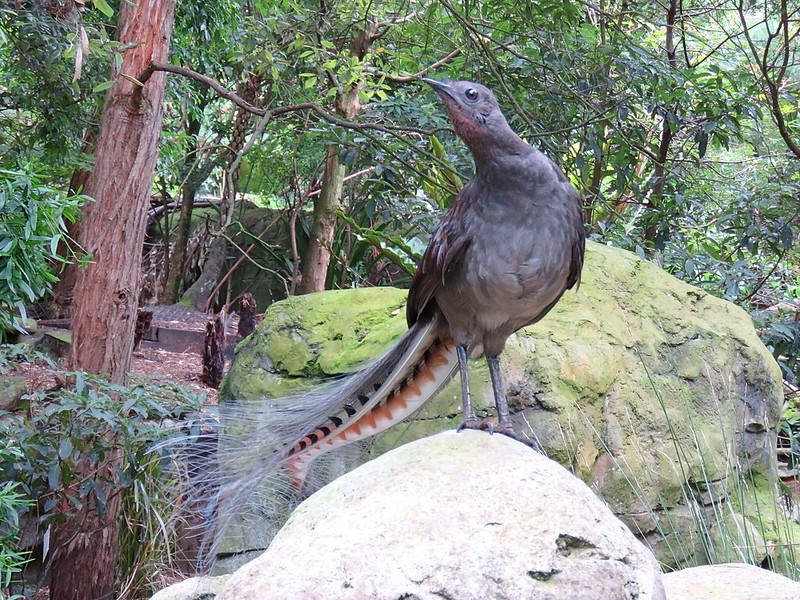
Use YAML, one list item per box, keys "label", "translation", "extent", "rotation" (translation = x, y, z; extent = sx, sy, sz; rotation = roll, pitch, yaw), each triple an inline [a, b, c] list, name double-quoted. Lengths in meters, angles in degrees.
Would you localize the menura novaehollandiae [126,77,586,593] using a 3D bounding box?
- label: "menura novaehollandiae"
  translation: [-0.100, 0.311, 3.874]
  extent: [1.901, 2.747, 0.844]
  rotation: [11, 1, 13]
